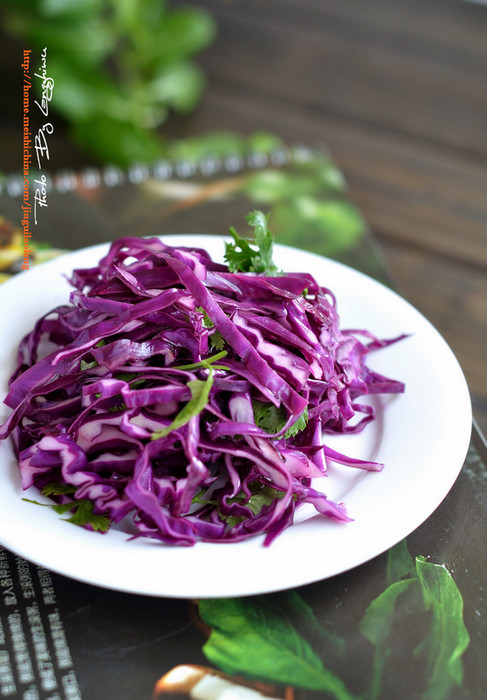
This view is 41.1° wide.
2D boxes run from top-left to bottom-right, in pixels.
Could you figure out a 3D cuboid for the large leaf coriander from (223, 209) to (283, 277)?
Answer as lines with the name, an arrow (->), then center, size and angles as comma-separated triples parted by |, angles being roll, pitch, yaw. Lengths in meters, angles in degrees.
large leaf coriander -> 0.012, -0.207, 1.296 | 0.136, 0.125, 0.054 | 18, 11, 33
